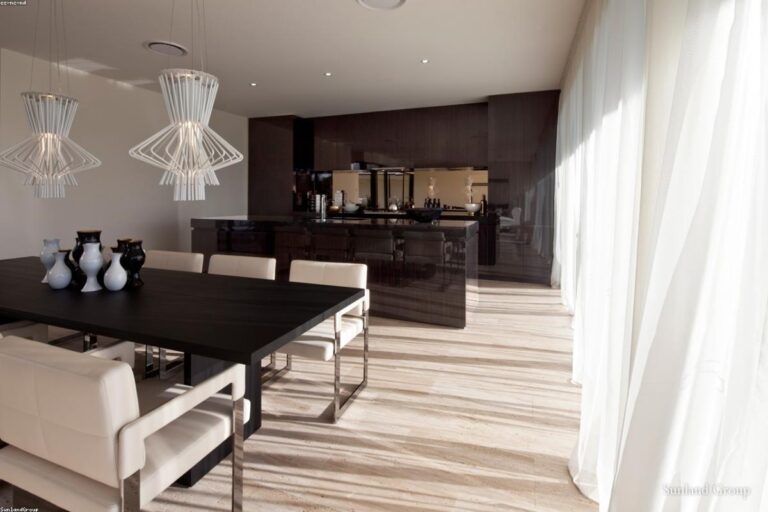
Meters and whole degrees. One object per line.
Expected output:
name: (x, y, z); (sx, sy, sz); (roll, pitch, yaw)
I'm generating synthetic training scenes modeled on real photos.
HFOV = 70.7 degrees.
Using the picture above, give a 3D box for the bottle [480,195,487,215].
bottle: (1.507, -0.788, 8.229); (0.057, 0.287, 0.129); (1, 12, -5)

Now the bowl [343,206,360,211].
bowl: (-0.497, -0.742, 8.360); (0.140, 0.064, 0.145); (-1, -1, 0)

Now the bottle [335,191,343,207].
bottle: (-0.771, -0.996, 9.250); (0.150, 0.243, 0.052); (3, 12, 4)

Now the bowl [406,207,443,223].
bowl: (0.434, -0.423, 5.947); (0.228, 0.115, 0.234); (-1, 0, 0)

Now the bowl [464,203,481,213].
bowl: (1.274, -0.702, 7.806); (0.167, 0.110, 0.172); (-2, 0, 0)

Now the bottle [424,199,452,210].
bottle: (0.846, -0.821, 8.490); (0.479, 0.187, 0.089); (7, 13, 20)
